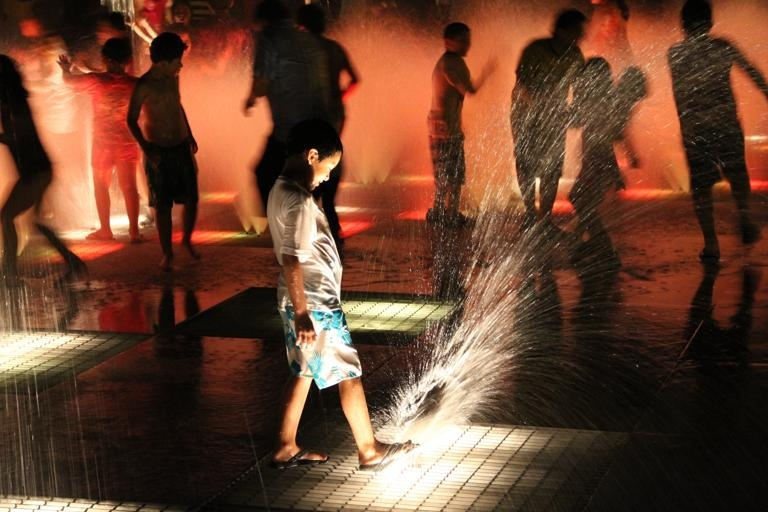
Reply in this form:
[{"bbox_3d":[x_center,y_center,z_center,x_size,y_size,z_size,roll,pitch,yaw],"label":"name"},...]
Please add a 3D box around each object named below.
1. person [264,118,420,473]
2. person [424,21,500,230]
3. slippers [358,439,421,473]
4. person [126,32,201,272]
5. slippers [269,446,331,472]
[{"bbox_3d":[-0.266,0.193,2.994,0.498,1.656,0.358,-8,7,-36],"label":"person"},{"bbox_3d":[0.888,-1.667,8.437,0.627,2.570,0.920,-4,6,-4],"label":"person"},{"bbox_3d":[0.024,0.939,3.112,0.295,0.069,0.112,-25,15,-28],"label":"slippers"},{"bbox_3d":[-2.306,-1.076,6.666,0.633,2.469,0.443,-4,6,-12],"label":"person"},{"bbox_3d":[-0.408,0.981,3.085,0.269,0.062,0.096,-3,8,-14],"label":"slippers"}]
